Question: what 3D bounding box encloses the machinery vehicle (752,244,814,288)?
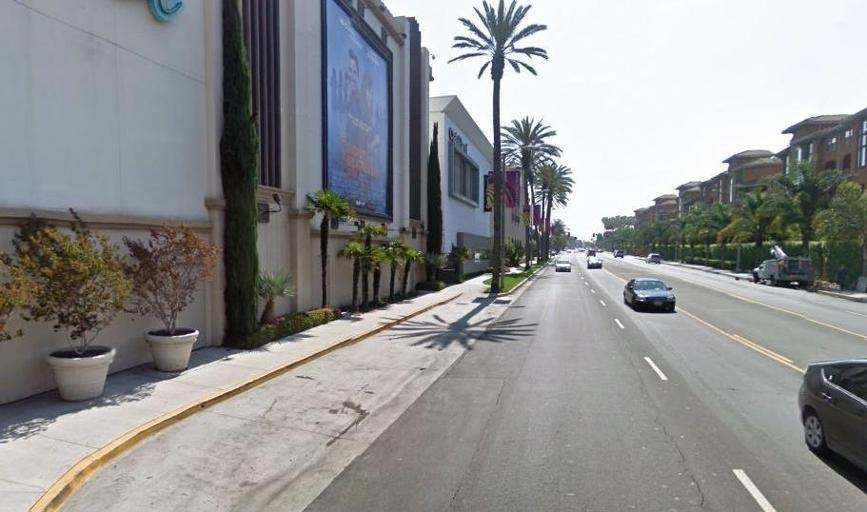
[{"bbox_3d":[27.604,1.457,43.385,2.423,2.925,5.507,-4,-18,32],"label":"machinery vehicle"}]
